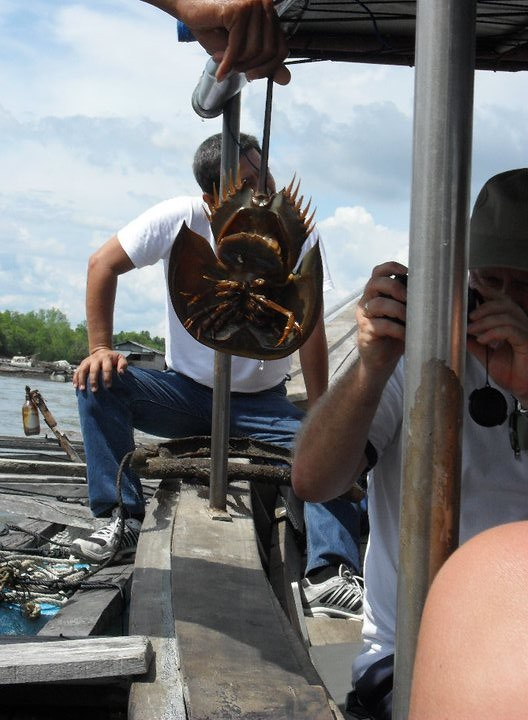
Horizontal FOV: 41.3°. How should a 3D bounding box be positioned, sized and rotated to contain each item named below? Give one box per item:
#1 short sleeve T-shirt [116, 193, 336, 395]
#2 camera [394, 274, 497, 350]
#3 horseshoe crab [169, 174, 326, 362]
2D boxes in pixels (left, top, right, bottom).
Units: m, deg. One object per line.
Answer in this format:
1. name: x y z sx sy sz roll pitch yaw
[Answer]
1. short sleeve T-shirt: -0.395 -0.325 3.306 1.103 0.955 0.244 9 -3 -10
2. camera: 0.290 -0.082 1.101 0.128 0.111 0.044 11 30 17
3. horseshoe crab: -0.035 -0.197 1.475 0.338 0.372 0.112 13 21 29
